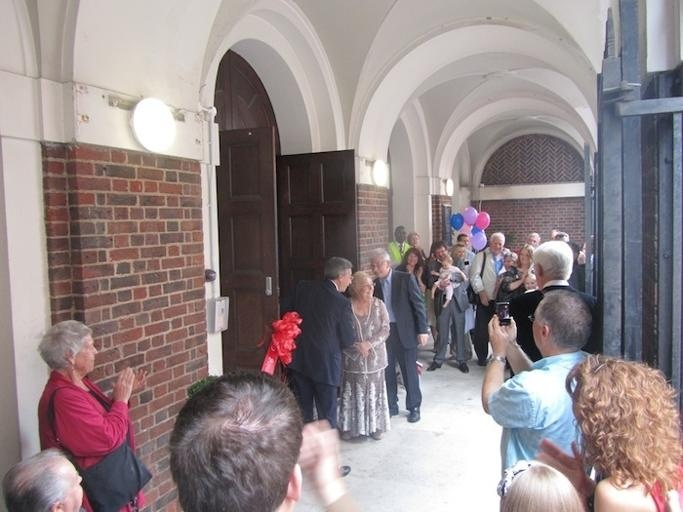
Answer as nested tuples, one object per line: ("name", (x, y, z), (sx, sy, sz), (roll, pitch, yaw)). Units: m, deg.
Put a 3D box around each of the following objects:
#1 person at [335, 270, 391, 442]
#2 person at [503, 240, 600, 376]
("person", (0.209, 1.072, 5.446), (0.523, 1.851, 0.487), (1, 15, 5))
("person", (1.467, 0.548, 3.718), (0.753, 1.335, 0.370), (-2, 0, -26))
